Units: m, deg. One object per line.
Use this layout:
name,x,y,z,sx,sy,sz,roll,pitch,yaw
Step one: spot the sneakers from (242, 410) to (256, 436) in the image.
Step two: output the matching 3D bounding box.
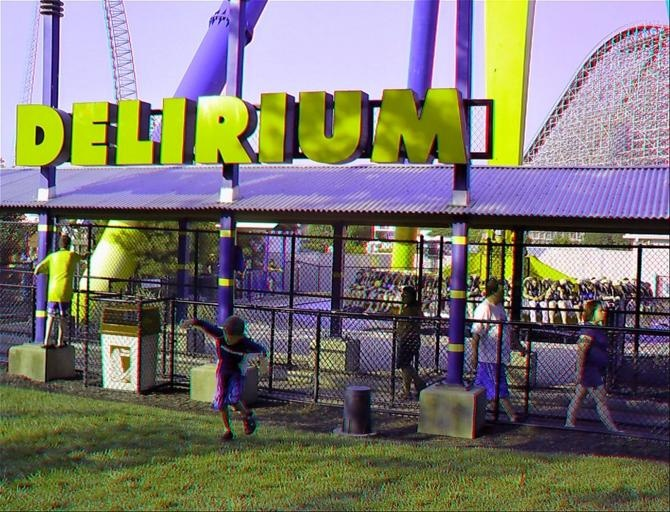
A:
sneakers,-1.333,2.585,13.285,0.153,0.417,0.166,-5,4,33

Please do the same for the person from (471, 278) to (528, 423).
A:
person,2.715,1.592,14.678,0.834,2.529,0.702,-1,16,3

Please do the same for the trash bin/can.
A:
trash bin/can,-3.796,1.723,15.847,1.069,1.571,0.684,2,-3,-11

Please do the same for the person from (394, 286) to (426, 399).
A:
person,1.293,1.569,15.801,0.636,2.196,0.607,3,18,9

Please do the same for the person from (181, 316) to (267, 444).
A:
person,-1.892,2.154,14.403,1.371,2.592,1.069,-4,-7,18

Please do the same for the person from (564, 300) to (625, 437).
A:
person,4.208,1.792,14.103,0.822,2.126,1.239,0,-4,20

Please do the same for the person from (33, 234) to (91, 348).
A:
person,-5.407,0.653,16.690,0.923,2.193,0.702,-2,-5,44

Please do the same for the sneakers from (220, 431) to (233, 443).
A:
sneakers,-1.669,2.804,13.260,0.171,0.208,0.116,0,-2,8
